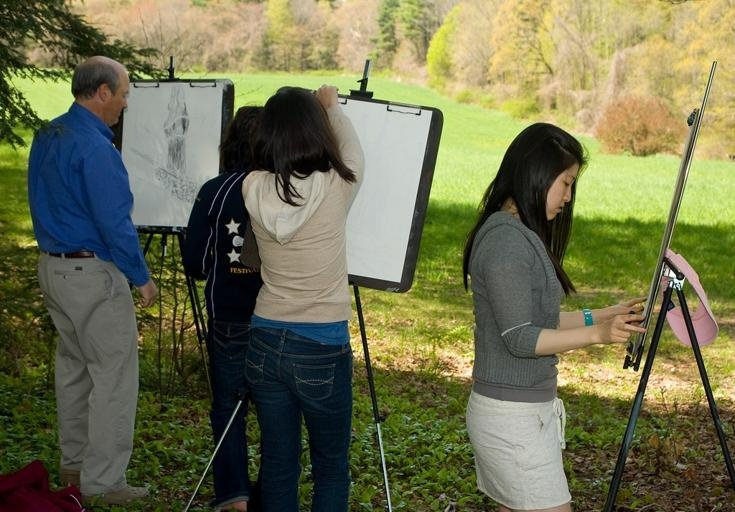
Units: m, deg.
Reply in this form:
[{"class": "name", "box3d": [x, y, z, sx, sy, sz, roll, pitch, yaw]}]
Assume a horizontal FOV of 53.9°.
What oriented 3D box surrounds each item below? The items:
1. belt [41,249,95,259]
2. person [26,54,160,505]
[{"class": "belt", "box3d": [-2.154, -0.011, 5.228, 0.376, 0.072, 0.050, 7, 13, 7]}, {"class": "person", "box3d": [-2.009, 0.202, 5.361, 0.952, 3.260, 0.630, 14, 15, 32]}]
